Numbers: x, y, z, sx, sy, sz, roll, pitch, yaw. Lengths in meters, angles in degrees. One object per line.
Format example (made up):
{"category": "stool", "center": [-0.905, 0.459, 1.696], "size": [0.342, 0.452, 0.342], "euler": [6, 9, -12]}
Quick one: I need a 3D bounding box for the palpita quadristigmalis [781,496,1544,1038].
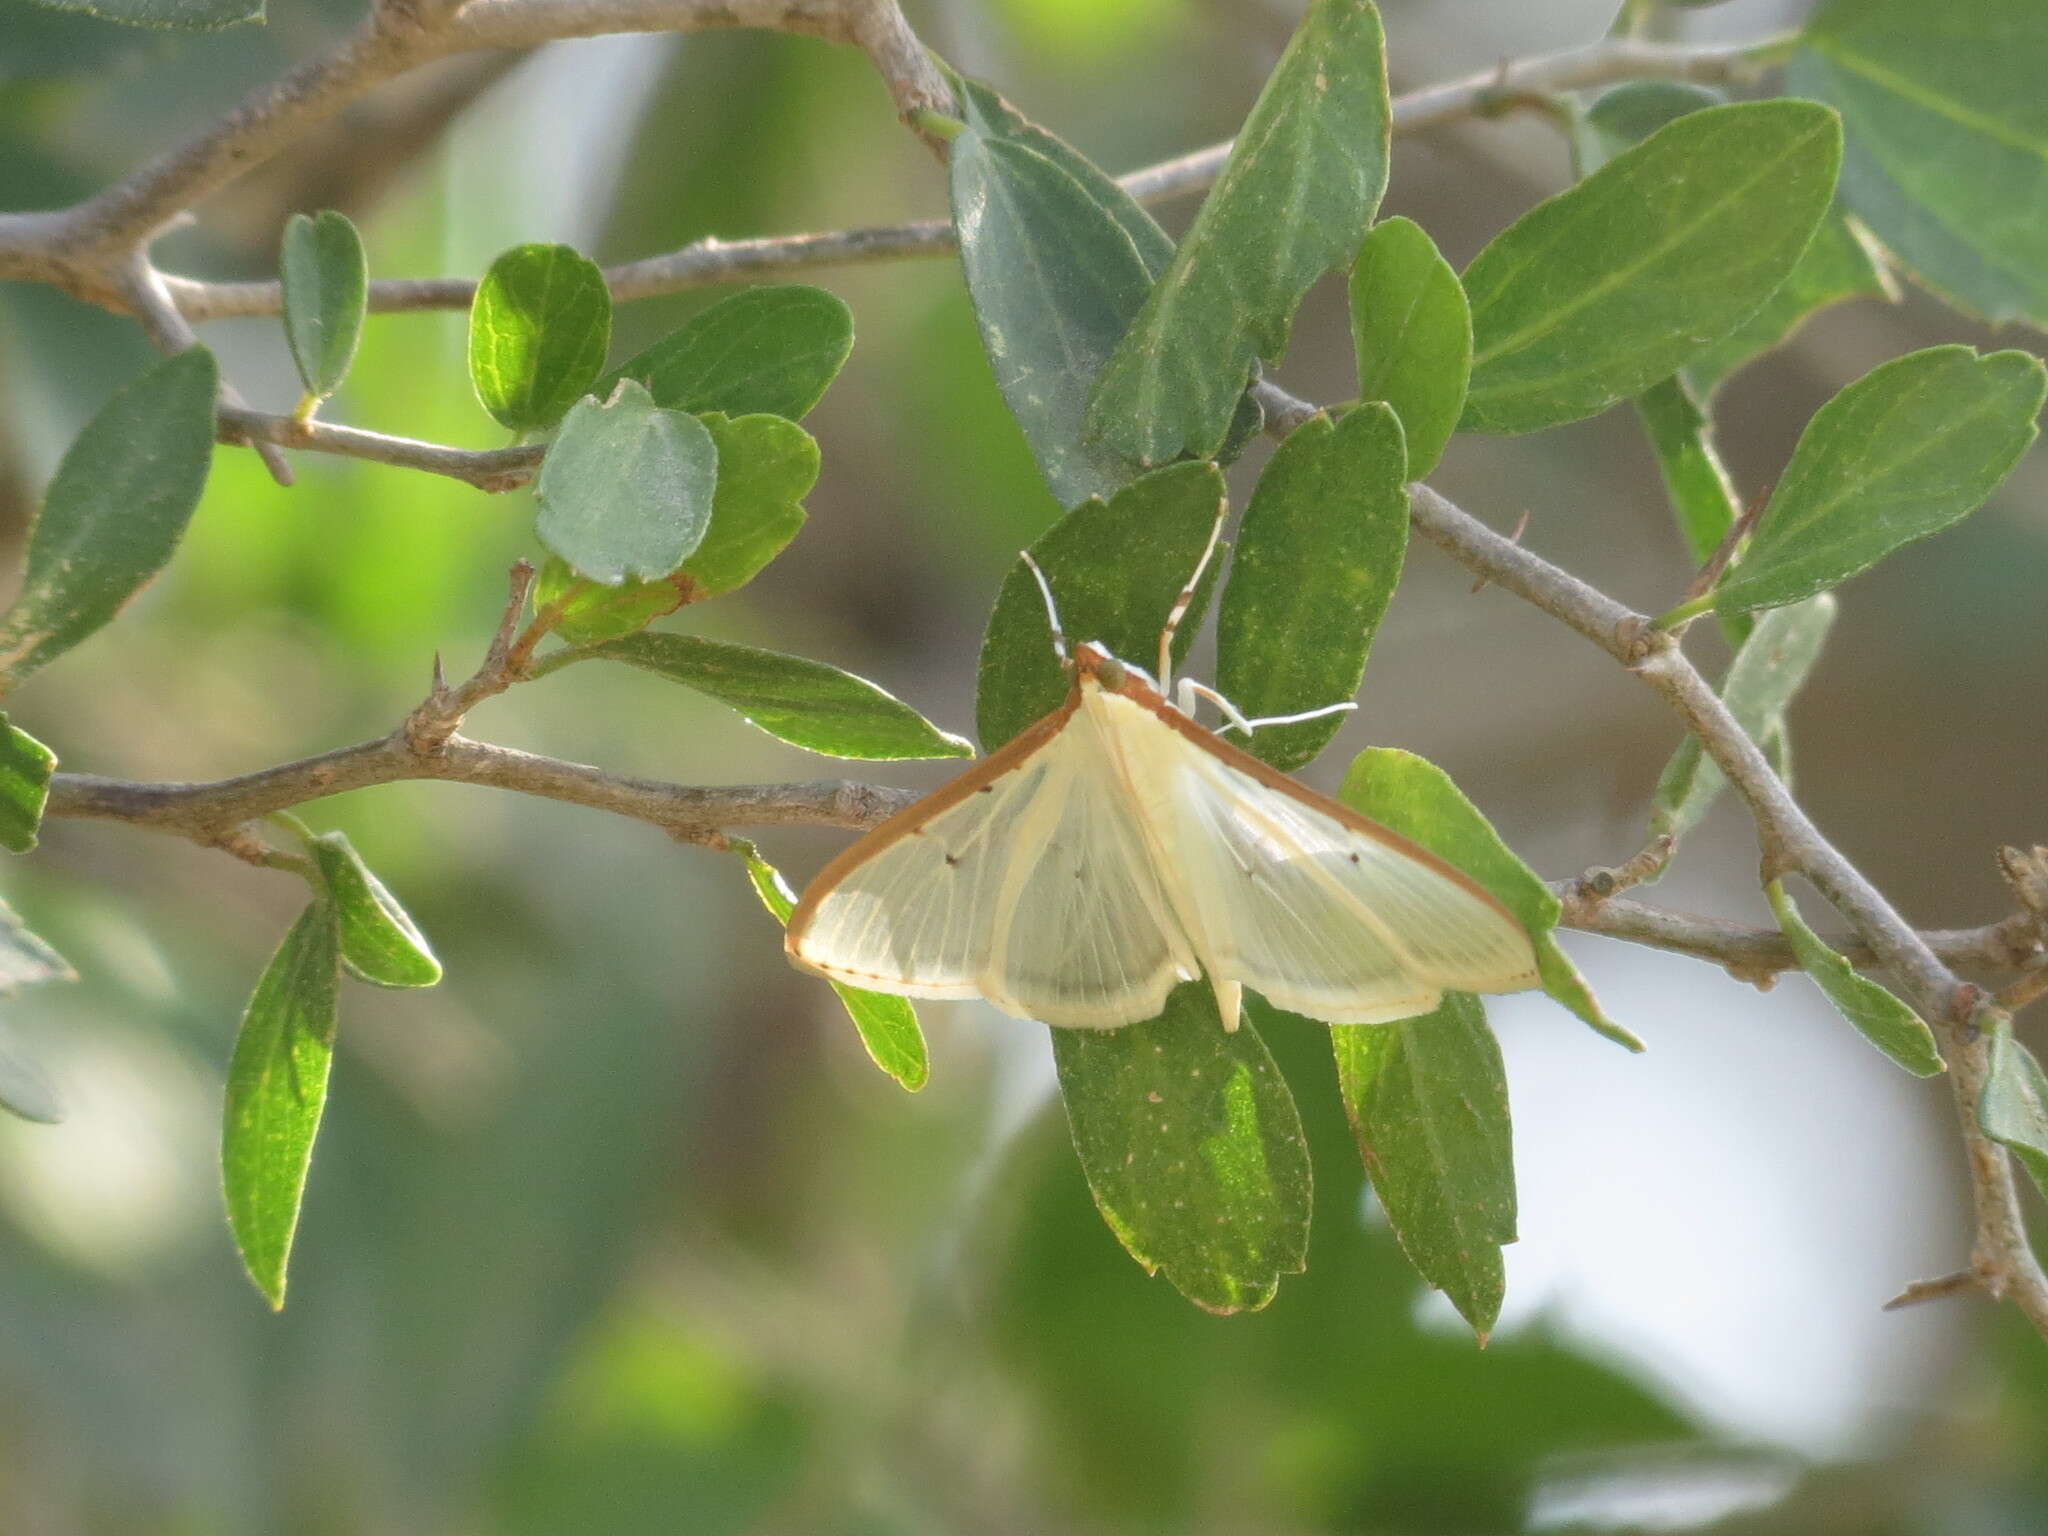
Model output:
{"category": "palpita quadristigmalis", "center": [0.058, -0.006, 1.386], "size": [0.385, 0.296, 0.106], "euler": [-7, 14, 17]}
